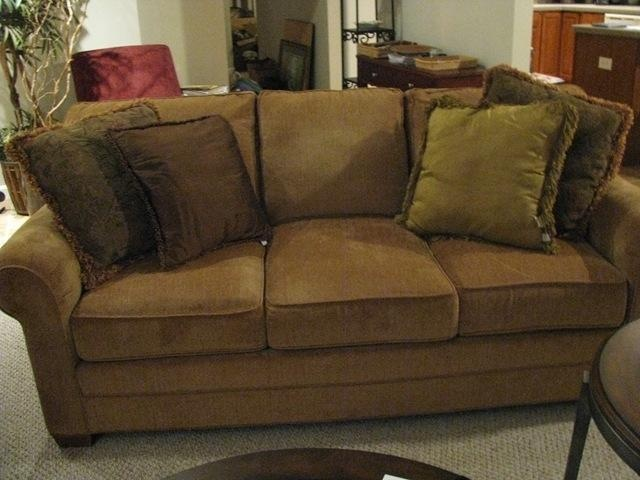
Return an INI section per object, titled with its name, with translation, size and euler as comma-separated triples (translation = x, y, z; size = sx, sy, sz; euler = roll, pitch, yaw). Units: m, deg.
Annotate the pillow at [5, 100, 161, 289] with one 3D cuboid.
[pillow]
translation = -0.932, -0.144, 2.220
size = 0.178, 0.579, 0.610
euler = -18, 8, 47
